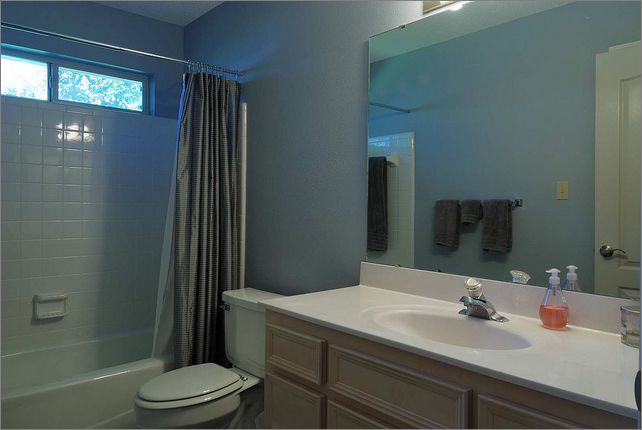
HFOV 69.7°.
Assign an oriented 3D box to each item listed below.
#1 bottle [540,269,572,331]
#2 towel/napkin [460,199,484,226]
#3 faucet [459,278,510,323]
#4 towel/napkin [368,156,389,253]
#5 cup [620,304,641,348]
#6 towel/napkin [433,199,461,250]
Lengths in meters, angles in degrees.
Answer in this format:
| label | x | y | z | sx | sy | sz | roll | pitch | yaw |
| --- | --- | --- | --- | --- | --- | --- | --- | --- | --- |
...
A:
| label | x | y | z | sx | sy | sz | roll | pitch | yaw |
| --- | --- | --- | --- | --- | --- | --- | --- | --- | --- |
| bottle | 1.070 | 0.382 | 2.074 | 0.138 | 0.267 | 0.093 | -2 | 3 | -36 |
| towel/napkin | 0.769 | -0.012 | 2.345 | 0.117 | 0.126 | 0.034 | -16 | -10 | 29 |
| faucet | 0.796 | 0.417 | 2.209 | 0.188 | 0.176 | 0.086 | -1 | 13 | 44 |
| towel/napkin | 0.338 | -0.022 | 2.677 | 0.040 | 0.394 | 0.187 | -8 | 13 | -38 |
| cup | 1.308 | 0.468 | 1.941 | 0.061 | 0.167 | 0.098 | 2 | 3 | 38 |
| towel/napkin | 0.668 | 0.046 | 2.414 | 0.135 | 0.248 | 0.029 | 5 | 10 | 36 |
